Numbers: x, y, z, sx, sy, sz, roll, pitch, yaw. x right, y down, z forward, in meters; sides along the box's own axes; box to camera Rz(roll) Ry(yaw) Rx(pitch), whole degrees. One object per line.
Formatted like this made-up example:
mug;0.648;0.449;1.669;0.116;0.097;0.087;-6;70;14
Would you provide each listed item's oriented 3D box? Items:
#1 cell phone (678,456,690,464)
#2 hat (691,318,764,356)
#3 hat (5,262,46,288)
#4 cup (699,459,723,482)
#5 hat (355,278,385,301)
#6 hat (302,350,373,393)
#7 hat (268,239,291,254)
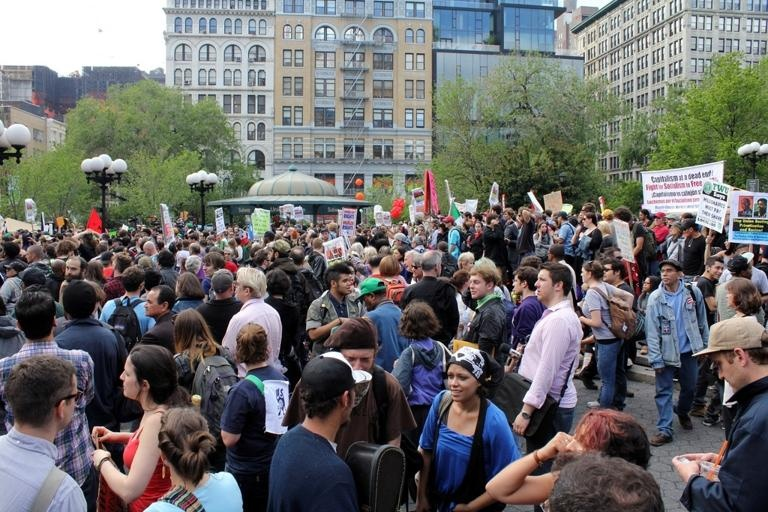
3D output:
cell phone;3.539;2.407;10.407;0.131;0.072;0.193;3;7;16
hat;4.191;0.958;10.550;0.589;0.296;0.392;-9;-5;14
hat;-6.196;0.333;15.220;0.477;0.175;0.310;17;10;29
cup;3.794;2.535;10.233;0.173;0.145;0.187;4;-10;1
hat;-0.170;0.504;13.552;0.392;0.326;0.367;0;6;-2
hat;-0.354;1.360;10.352;0.640;0.372;0.402;-19;19;-41
hat;-1.979;-0.140;16.546;0.363;0.233;0.240;8;23;26
